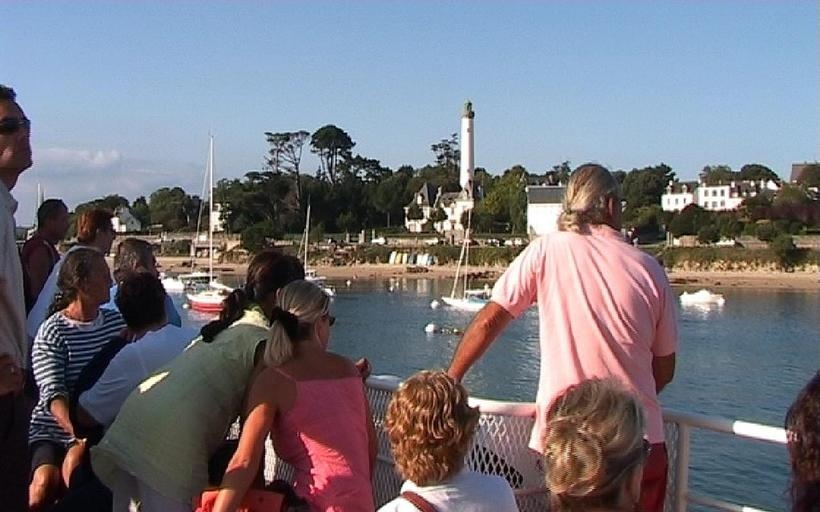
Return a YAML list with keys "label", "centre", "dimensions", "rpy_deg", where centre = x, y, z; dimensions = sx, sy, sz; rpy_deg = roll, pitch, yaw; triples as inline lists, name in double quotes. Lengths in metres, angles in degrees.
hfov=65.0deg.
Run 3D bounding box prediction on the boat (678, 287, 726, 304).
- label: "boat"
  centre: [22.750, 3.324, 50.048]
  dimensions: [2.980, 0.961, 2.329]
  rpy_deg: [2, 5, 16]
